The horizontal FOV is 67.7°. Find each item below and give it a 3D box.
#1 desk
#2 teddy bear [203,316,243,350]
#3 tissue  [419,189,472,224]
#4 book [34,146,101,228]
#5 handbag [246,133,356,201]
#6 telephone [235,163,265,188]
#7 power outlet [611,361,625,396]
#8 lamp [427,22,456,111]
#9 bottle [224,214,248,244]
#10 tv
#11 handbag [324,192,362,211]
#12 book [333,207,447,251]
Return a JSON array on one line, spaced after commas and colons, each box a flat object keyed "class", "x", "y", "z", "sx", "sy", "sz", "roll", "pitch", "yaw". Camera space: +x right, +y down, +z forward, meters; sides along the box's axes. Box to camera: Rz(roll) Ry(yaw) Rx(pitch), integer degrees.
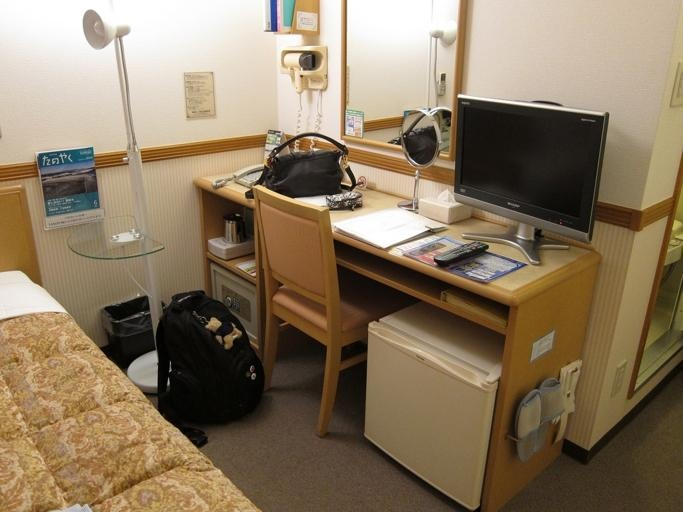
[{"class": "desk", "x": 0.287, "y": 0.387, "z": 2.196, "sx": 0.409, "sy": 0.653, "sz": 1.256, "roll": -19, "pitch": 31, "yaw": -41}, {"class": "teddy bear", "x": -0.561, "y": 0.351, "z": 2.484, "sx": 0.200, "sy": 0.079, "sz": 0.143, "roll": 24, "pitch": 44, "yaw": 27}, {"class": "tissue ", "x": 0.508, "y": -0.229, "z": 2.475, "sx": 0.162, "sy": 0.088, "sz": 0.226, "roll": -12, "pitch": 21, "yaw": -28}, {"class": "book", "x": -1.433, "y": -0.371, "z": 2.649, "sx": 0.338, "sy": 0.448, "sz": 0.049, "roll": -17, "pitch": 31, "yaw": -39}, {"class": "handbag", "x": -0.203, "y": -0.513, "z": 2.827, "sx": 0.556, "sy": 0.362, "sz": 0.309, "roll": -7, "pitch": 26, "yaw": -13}, {"class": "telephone", "x": -0.521, "y": -0.460, "z": 2.983, "sx": 0.168, "sy": 0.052, "sz": 0.124, "roll": -30, "pitch": 43, "yaw": -26}, {"class": "power outlet", "x": 1.240, "y": 0.546, "z": 2.279, "sx": 0.120, "sy": 0.170, "sz": 0.017, "roll": -22, "pitch": 31, "yaw": -37}, {"class": "lamp", "x": 0.469, "y": -0.902, "z": 2.414, "sx": 0.048, "sy": 0.364, "sz": 0.148, "roll": -23, "pitch": 32, "yaw": -40}, {"class": "bottle", "x": -0.636, "y": -0.178, "z": 3.137, "sx": 0.106, "sy": 0.174, "sz": 0.175, "roll": -15, "pitch": 33, "yaw": -33}, {"class": "tv", "x": 0.740, "y": -0.334, "z": 2.091, "sx": 0.231, "sy": 0.605, "sz": 0.625, "roll": -24, "pitch": 33, "yaw": -33}, {"class": "handbag", "x": 0.019, "y": -0.285, "z": 2.613, "sx": 0.130, "sy": 0.057, "sz": 0.105, "roll": -12, "pitch": 21, "yaw": -19}, {"class": "book", "x": 0.212, "y": -0.134, "z": 2.317, "sx": 0.277, "sy": 0.032, "sz": 0.262, "roll": -18, "pitch": 29, "yaw": -33}]
